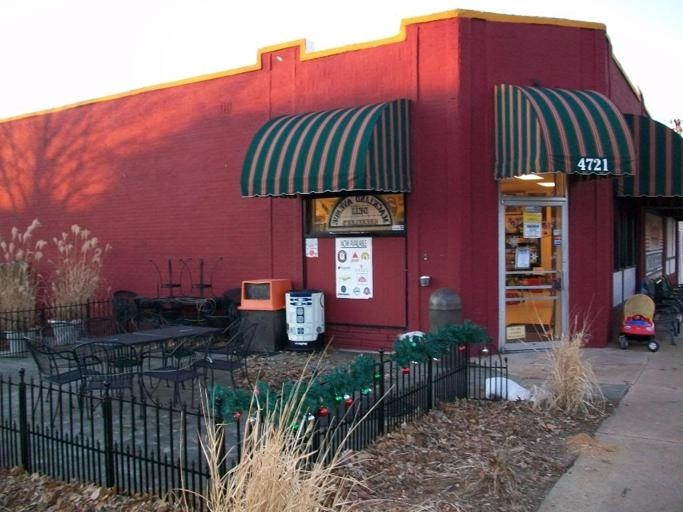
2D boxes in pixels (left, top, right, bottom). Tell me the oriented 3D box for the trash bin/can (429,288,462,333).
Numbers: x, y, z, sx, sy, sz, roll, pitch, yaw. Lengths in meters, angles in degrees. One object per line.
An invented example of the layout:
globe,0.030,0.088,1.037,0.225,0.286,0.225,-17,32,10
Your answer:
trash bin/can,1.855,0.974,12.419,0.722,1.138,0.708,0,-4,8
